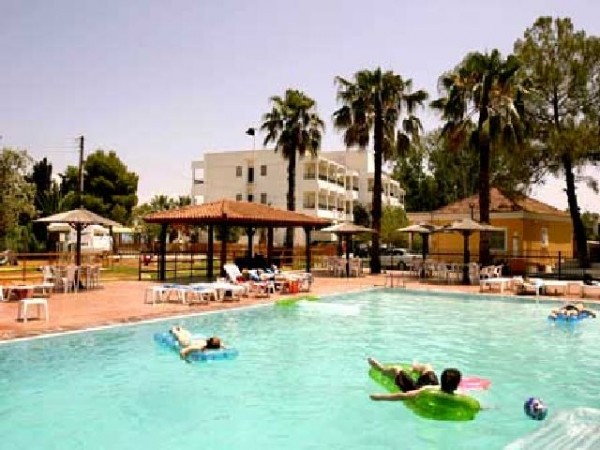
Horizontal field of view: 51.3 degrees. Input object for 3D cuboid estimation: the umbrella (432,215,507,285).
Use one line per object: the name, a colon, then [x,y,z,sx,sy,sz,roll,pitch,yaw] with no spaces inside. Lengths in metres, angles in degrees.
umbrella: [8.534,0.695,31.939,3.275,3.799,3.529,-2,3,-34]

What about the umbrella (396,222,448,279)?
umbrella: [6.628,1.389,35.572,2.748,3.610,3.039,-1,0,20]

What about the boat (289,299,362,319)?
boat: [0.948,3.016,22.540,2.299,0.447,3.152,-1,-5,-2]

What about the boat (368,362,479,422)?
boat: [2.669,3.652,13.519,0.905,0.410,2.134,0,-1,-10]

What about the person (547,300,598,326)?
person: [8.882,3.005,20.681,1.155,0.451,0.849,-5,-5,43]

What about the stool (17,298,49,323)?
stool: [-8.297,2.656,19.365,0.908,0.851,0.966,1,-6,-22]

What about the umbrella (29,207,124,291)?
umbrella: [-10.095,1.489,27.937,3.622,3.840,3.832,0,5,-23]
